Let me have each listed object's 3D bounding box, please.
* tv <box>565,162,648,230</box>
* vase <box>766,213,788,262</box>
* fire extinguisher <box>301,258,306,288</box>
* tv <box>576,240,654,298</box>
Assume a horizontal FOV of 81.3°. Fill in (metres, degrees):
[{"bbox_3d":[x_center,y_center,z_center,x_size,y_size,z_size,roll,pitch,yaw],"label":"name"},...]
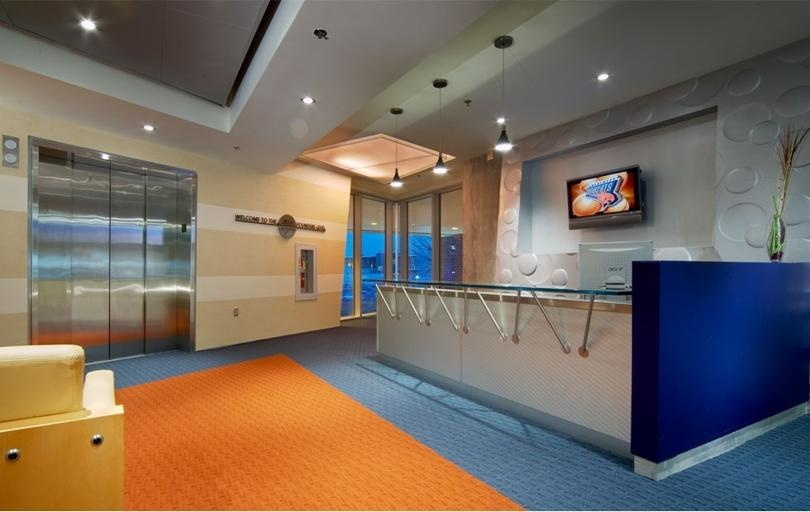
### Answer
[{"bbox_3d":[3.401,-0.989,7.850,1.234,0.959,0.408,-2,-3,45],"label":"tv"},{"bbox_3d":[4.516,-0.229,5.717,0.144,0.575,0.398,2,4,36],"label":"vase"},{"bbox_3d":[-2.192,0.345,10.085,0.040,0.589,0.177,2,4,33],"label":"fire extinguisher"},{"bbox_3d":[2.694,0.098,6.057,0.925,0.845,0.681,0,-2,24],"label":"tv"}]
